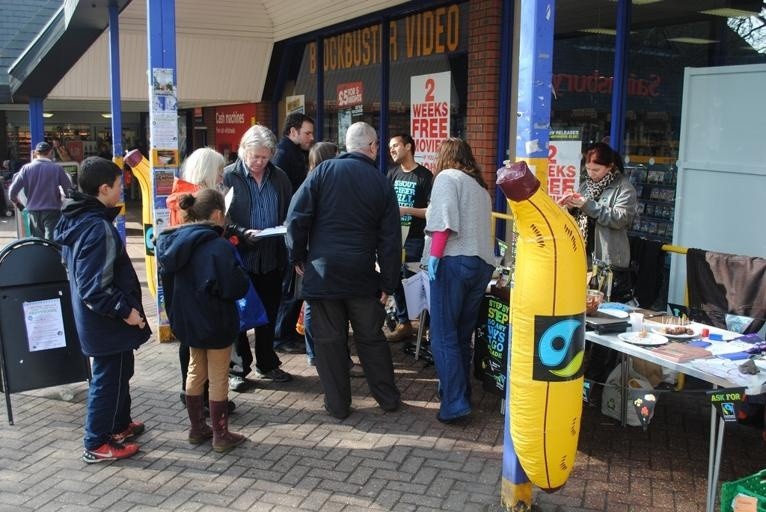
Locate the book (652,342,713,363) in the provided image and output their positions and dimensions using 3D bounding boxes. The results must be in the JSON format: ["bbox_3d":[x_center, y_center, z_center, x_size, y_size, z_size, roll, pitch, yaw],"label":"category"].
[{"bbox_3d":[2.337,0.751,4.693,0.199,0.050,0.189,-4,10,-19],"label":"book"}]

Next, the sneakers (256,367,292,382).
[{"bbox_3d":[-1.213,1.311,6.599,0.326,0.159,0.163,-1,1,14],"label":"sneakers"}]

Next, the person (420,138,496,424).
[{"bbox_3d":[0.739,0.233,5.697,0.504,2.666,0.637,5,11,39],"label":"person"}]

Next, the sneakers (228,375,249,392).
[{"bbox_3d":[-1.548,1.364,6.384,0.201,0.138,0.123,17,19,-23],"label":"sneakers"}]

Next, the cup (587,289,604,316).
[{"bbox_3d":[1.868,0.406,5.319,0.187,0.174,0.221,5,9,27],"label":"cup"}]

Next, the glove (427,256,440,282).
[{"bbox_3d":[0.460,0.110,5.536,0.065,0.197,0.142,9,0,1],"label":"glove"}]

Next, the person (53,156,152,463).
[{"bbox_3d":[-2.416,0.475,5.166,0.656,2.633,0.490,-3,9,-12],"label":"person"}]

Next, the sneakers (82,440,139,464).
[{"bbox_3d":[-2.411,1.674,5.314,0.485,0.216,0.185,-4,8,-27],"label":"sneakers"}]

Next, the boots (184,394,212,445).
[{"bbox_3d":[-1.691,1.470,5.446,0.210,0.502,0.185,-5,9,-20],"label":"boots"}]

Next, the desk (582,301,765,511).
[{"bbox_3d":[2.672,1.396,5.124,1.481,1.144,1.477,-8,15,-28],"label":"desk"}]

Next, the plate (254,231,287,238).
[{"bbox_3d":[-1.134,-0.218,5.896,0.217,0.024,0.163,-7,10,-11],"label":"plate"}]
